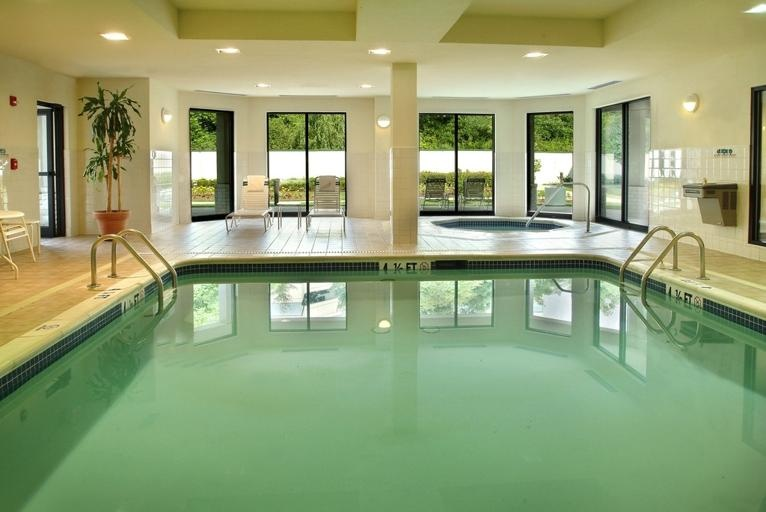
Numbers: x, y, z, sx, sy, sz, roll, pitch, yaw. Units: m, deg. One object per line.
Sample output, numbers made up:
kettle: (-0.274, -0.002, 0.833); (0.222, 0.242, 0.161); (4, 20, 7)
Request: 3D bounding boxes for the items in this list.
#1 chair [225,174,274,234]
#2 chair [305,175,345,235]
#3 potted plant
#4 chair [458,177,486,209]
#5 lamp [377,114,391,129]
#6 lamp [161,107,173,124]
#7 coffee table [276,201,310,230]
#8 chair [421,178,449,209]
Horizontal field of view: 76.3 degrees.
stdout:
chair: (-3.171, -1.301, 11.878); (0.905, 1.238, 1.483); (1, 11, -4)
chair: (-1.364, -1.274, 11.993); (0.923, 1.175, 1.790); (-1, 14, -7)
potted plant: (-5.324, -2.014, 9.646); (1.149, 2.912, 2.034); (-7, 13, -31)
chair: (2.649, -1.969, 14.652); (0.654, 1.167, 0.845); (0, 7, 5)
lamp: (0.025, -3.623, 13.148); (0.334, 0.373, 0.150); (-4, 12, -17)
lamp: (-4.927, -3.205, 11.132); (0.132, 0.359, 0.598); (-3, 13, -13)
coffee table: (-2.575, -1.240, 13.837); (0.889, 0.872, 0.887); (0, 5, -4)
chair: (1.595, -1.888, 14.349); (0.677, 1.110, 0.841); (1, 14, 4)
